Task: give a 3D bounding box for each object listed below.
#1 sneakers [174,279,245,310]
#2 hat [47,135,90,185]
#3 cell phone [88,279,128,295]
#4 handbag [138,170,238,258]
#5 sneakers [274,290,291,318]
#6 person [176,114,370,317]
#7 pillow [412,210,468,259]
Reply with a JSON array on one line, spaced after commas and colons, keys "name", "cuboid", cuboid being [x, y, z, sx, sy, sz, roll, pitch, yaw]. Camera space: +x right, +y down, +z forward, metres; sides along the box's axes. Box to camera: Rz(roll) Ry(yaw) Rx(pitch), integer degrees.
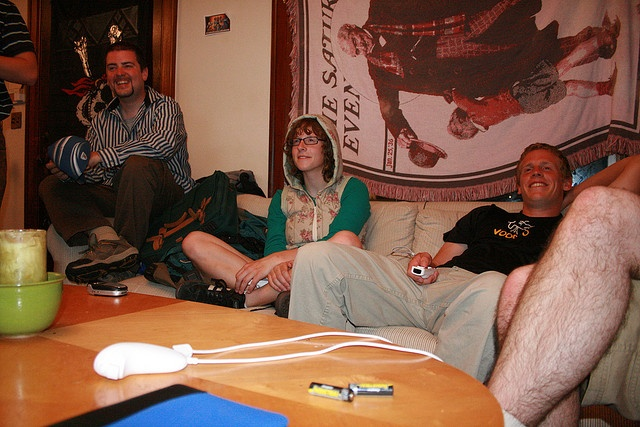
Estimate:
[{"name": "sneakers", "cuboid": [-0.465, 0.368, 2.156, 0.324, 0.115, 0.135, 6, -16, -23]}, {"name": "hat", "cuboid": [-1.320, -0.287, 2.607, 0.203, 0.237, 0.140, 7, 15, 20]}, {"name": "cell phone", "cuboid": [-0.738, 0.251, 1.718, 0.104, 0.033, 0.059, 3, -1, 8]}, {"name": "handbag", "cuboid": [-0.716, 0.040, 2.686, 0.503, 0.200, 0.466, -33, 18, 16]}, {"name": "sneakers", "cuboid": [-0.153, 0.371, 2.010, 0.044, 0.121, 0.083, 10, -8, -19]}, {"name": "person", "cuboid": [-0.268, -0.033, 2.780, 1.014, 1.163, 0.935, -6, -17, 45]}, {"name": "pillow", "cuboid": [0.596, 0.086, 2.606, 0.258, 0.251, 0.104, 11, -13, 17]}]
